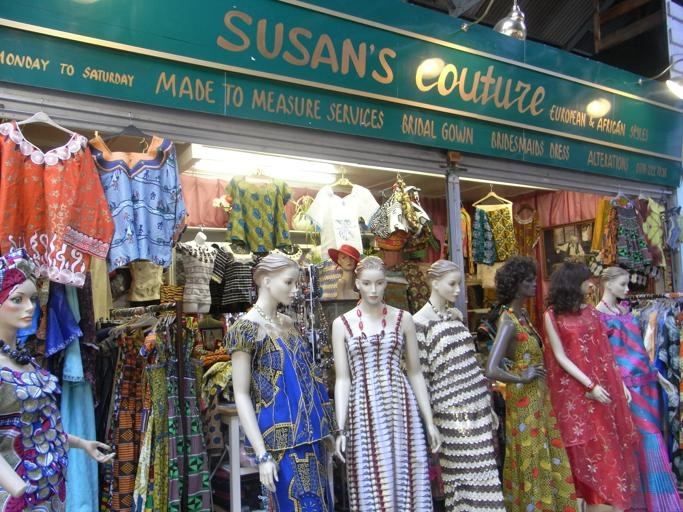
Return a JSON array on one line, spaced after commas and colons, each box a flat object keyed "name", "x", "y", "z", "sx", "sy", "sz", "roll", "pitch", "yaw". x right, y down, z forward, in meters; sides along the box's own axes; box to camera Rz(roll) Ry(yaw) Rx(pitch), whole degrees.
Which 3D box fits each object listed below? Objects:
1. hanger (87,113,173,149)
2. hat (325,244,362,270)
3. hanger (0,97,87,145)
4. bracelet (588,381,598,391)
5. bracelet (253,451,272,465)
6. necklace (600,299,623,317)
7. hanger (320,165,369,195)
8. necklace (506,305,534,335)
[{"name": "hanger", "x": -1.600, "y": -0.872, "z": 4.905, "sx": 0.516, "sy": 0.226, "sz": 1.114, "roll": 0, "pitch": -1, "yaw": -23}, {"name": "hat", "x": 0.024, "y": 0.013, "z": 5.209, "sx": 0.187, "sy": 0.086, "sz": 0.221, "roll": 21, "pitch": -35, "yaw": 18}, {"name": "hanger", "x": -2.183, "y": -0.852, "z": 4.693, "sx": 0.460, "sy": 0.266, "sz": 1.379, "roll": 0, "pitch": -1, "yaw": -26}, {"name": "bracelet", "x": 1.774, "y": 0.933, "z": 4.662, "sx": 0.049, "sy": 0.012, "sz": 0.048, "roll": -46, "pitch": -4, "yaw": -30}, {"name": "bracelet", "x": -0.438, "y": 1.147, "z": 3.668, "sx": 0.060, "sy": 0.049, "sz": 0.082, "roll": -6, "pitch": -21, "yaw": -15}, {"name": "necklace", "x": 2.190, "y": 0.402, "z": 5.385, "sx": 0.195, "sy": 0.084, "sz": 0.108, "roll": 2, "pitch": -3, "yaw": -38}, {"name": "hanger", "x": -0.014, "y": -0.647, "z": 5.725, "sx": 0.274, "sy": 0.236, "sz": 0.350, "roll": -1, "pitch": -2, "yaw": 2}, {"name": "necklace", "x": 1.319, "y": 0.464, "z": 4.847, "sx": 0.164, "sy": 0.241, "sz": 0.087, "roll": -22, "pitch": 26, "yaw": 39}]
